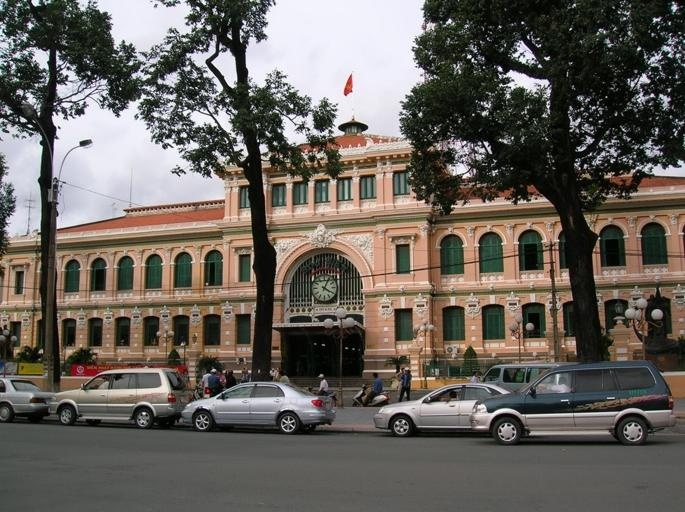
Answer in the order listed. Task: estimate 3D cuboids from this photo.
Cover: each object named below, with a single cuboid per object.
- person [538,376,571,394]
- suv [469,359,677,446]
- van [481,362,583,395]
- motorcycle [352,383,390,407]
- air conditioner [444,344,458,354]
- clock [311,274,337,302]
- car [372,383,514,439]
[{"bbox_3d":[6.305,3.842,21.391,0.815,0.441,0.510,3,-10,8],"label":"person"},{"bbox_3d":[7.060,4.358,22.072,5.182,2.169,2.628,-1,-17,11],"label":"suv"},{"bbox_3d":[6.646,4.283,26.843,2.822,1.458,1.605,0,-7,20],"label":"van"},{"bbox_3d":[1.305,6.832,34.495,2.145,1.317,0.939,-9,-22,34],"label":"motorcycle"},{"bbox_3d":[7.609,6.491,50.232,0.865,0.715,1.226,-4,-12,15],"label":"air conditioner"},{"bbox_3d":[-1.376,2.441,53.173,1.918,1.935,0.272,-2,-16,11],"label":"clock"},{"bbox_3d":[3.081,5.218,24.209,3.895,1.399,1.814,-2,-14,12],"label":"car"}]
